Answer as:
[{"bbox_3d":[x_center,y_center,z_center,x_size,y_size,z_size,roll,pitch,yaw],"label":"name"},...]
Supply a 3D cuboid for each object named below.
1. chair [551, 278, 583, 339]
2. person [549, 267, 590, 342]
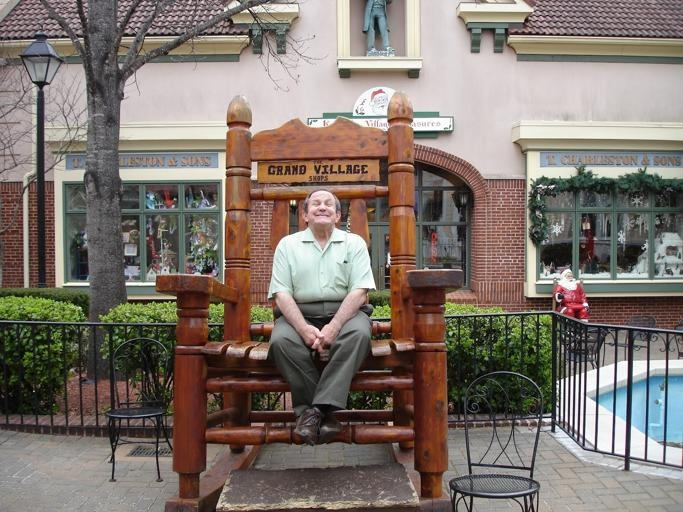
[{"bbox_3d":[5.119,1.071,18.527,0.623,1.555,0.799,-4,-16,14],"label":"chair"},{"bbox_3d":[5.104,1.087,18.503,0.808,1.654,0.763,12,-18,-40],"label":"person"}]
